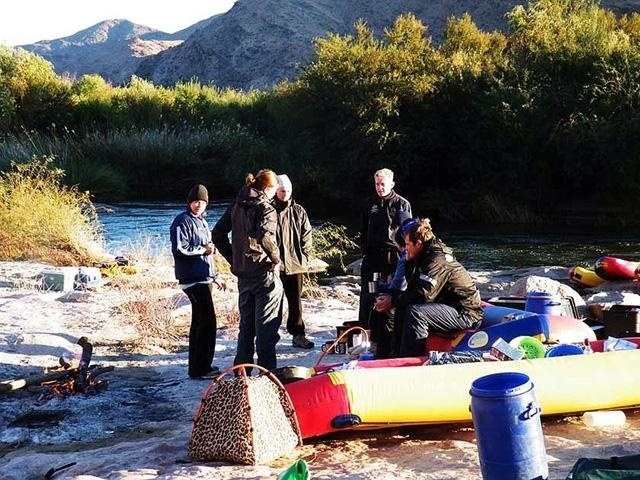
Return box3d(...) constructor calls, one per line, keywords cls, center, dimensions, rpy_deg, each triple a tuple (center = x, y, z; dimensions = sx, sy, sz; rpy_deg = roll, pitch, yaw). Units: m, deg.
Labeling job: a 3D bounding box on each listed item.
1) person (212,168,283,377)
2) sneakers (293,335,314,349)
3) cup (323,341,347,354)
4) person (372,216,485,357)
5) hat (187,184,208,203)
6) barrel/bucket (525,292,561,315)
box3d(cls="person", center=(-0.782, 0.406, 7.447), dimensions=(0.683, 2.365, 1.103), rpy_deg=(-3, 9, -15))
box3d(cls="sneakers", center=(-0.246, 1.419, 8.887), dimensions=(0.341, 0.137, 0.130), rpy_deg=(2, 7, 21))
box3d(cls="cup", center=(0.181, 1.384, 8.295), dimensions=(0.400, 0.162, 0.118), rpy_deg=(-2, -1, 27))
box3d(cls="person", center=(1.285, 0.574, 7.495), dimensions=(1.120, 1.563, 0.814), rpy_deg=(-4, 9, -22))
box3d(cls="hat", center=(-1.520, -0.558, 8.052), dimensions=(0.223, 0.203, 0.271), rpy_deg=(4, -3, -19))
box3d(cls="barrel/bucket", center=(2.732, 0.786, 7.850), dimensions=(0.318, 0.288, 0.322), rpy_deg=(11, -4, 1))
